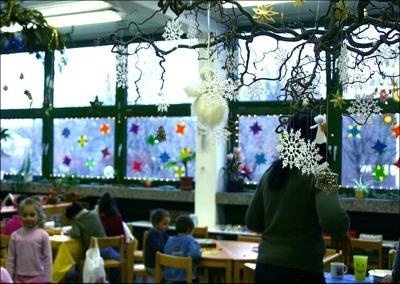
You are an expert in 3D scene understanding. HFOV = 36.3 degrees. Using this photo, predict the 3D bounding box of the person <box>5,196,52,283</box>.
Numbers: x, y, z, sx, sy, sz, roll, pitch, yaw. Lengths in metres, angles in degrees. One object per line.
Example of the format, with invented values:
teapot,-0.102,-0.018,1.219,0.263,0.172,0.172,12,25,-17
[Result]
person,-1.614,0.935,5.812,0.399,0.797,0.213,0,-4,12

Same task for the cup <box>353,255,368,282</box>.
cup,1.400,1.124,5.446,0.159,0.269,0.163,-1,-11,0

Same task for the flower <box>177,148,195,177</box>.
flower,-0.188,0.278,8.675,0.257,0.409,0.188,1,-4,8

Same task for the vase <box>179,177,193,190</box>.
vase,-0.207,0.584,8.567,0.181,0.188,0.169,1,-5,12

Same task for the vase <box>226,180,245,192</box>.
vase,0.479,0.608,8.458,0.148,0.121,0.161,2,-9,-6

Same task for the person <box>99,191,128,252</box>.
person,-1.049,0.933,7.319,0.279,0.235,0.810,-19,-41,-20

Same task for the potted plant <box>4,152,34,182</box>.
potted plant,-2.761,0.387,9.650,0.240,0.475,0.471,3,-5,-18

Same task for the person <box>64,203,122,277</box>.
person,-1.237,1.174,7.090,0.653,0.919,0.539,3,-4,-14

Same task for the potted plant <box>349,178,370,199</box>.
potted plant,2.027,0.590,7.782,0.208,0.233,0.216,2,-5,-24

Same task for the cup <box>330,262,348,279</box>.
cup,1.224,1.134,5.375,0.155,0.143,0.104,1,-7,16

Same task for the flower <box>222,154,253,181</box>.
flower,0.494,0.362,8.341,0.387,0.366,0.355,-8,-32,-1
